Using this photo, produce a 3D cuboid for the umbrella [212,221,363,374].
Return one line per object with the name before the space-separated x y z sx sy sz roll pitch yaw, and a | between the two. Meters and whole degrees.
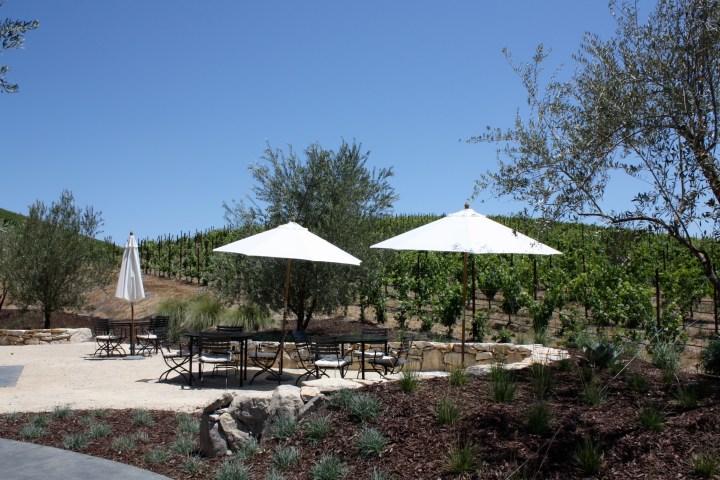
umbrella | -1.819 1.451 13.720 2.408 3.764 3.430 -5 5 -24
